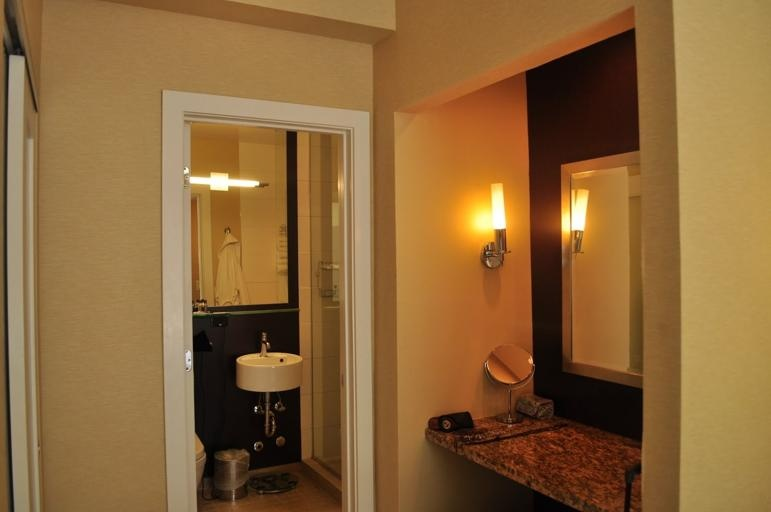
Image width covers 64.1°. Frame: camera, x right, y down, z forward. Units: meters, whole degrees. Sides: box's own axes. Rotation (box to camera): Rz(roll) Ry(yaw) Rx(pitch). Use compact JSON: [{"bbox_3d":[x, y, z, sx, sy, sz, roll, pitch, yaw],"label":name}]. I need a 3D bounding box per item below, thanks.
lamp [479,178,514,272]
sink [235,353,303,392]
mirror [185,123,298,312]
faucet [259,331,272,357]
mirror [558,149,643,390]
[{"bbox_3d":[0.648,-0.164,3.528,0.138,0.486,0.237,2,10,27],"label":"lamp"},{"bbox_3d":[-0.871,0.857,4.582,0.486,0.196,0.457,-4,8,-13],"label":"sink"},{"bbox_3d":[-1.171,-0.122,4.881,0.927,1.642,0.025,-2,44,-9],"label":"mirror"},{"bbox_3d":[-0.928,0.681,4.733,0.075,0.169,0.127,-4,9,-12],"label":"faucet"},{"bbox_3d":[1.170,0.061,3.333,0.163,1.212,0.559,-10,11,-40],"label":"mirror"}]
